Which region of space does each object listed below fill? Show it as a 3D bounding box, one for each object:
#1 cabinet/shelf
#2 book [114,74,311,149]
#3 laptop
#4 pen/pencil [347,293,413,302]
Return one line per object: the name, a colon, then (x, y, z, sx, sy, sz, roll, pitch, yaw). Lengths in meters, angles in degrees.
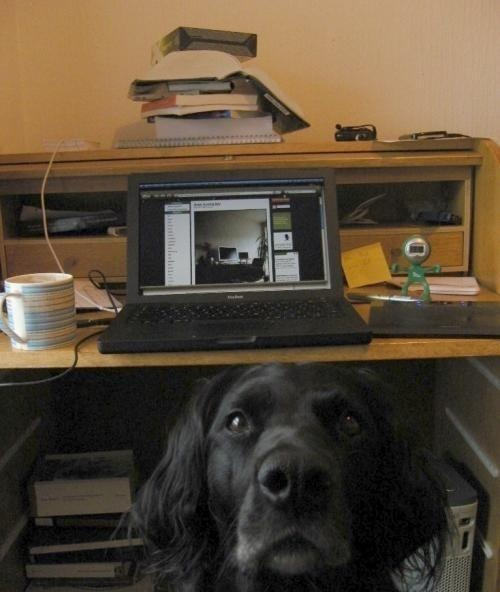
cabinet/shelf: (-0.011, -0.174, 1.745, 1.246, 0.322, 0.378, -2, 1, -2)
book: (-0.093, -0.405, 1.354, 0.447, 0.159, 0.271, 1, -5, -12)
laptop: (-0.036, -0.064, 1.090, 0.491, 0.272, 0.351, -1, 14, -2)
pen/pencil: (0.261, 0.003, 1.163, 0.081, 0.008, 0.014, 3, 23, 13)
